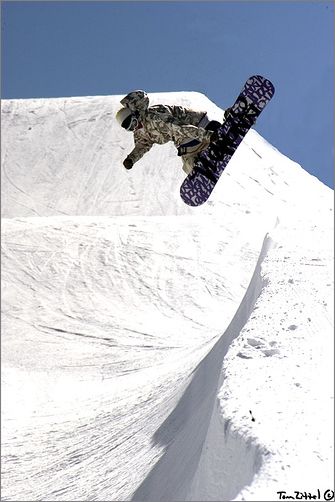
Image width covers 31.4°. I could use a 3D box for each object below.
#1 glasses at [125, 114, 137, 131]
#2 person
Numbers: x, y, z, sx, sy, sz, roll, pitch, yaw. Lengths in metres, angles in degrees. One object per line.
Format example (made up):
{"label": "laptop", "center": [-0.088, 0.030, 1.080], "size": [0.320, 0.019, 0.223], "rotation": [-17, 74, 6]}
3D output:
{"label": "glasses", "center": [-0.456, -1.666, 7.574], "size": [0.117, 0.171, 0.221], "rotation": [16, 41, 7]}
{"label": "person", "center": [-0.056, -1.560, 7.754], "size": [1.354, 1.070, 0.855], "rotation": [25, 9, -16]}
